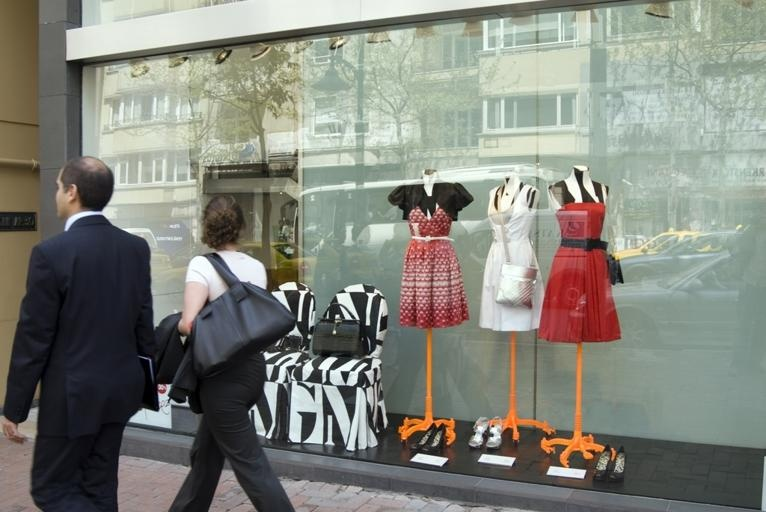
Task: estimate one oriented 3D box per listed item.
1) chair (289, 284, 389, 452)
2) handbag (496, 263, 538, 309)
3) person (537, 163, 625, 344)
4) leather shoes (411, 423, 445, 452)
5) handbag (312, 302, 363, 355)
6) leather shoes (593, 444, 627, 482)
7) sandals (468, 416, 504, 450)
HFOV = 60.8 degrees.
[{"bbox_3d":[-0.392,0.970,6.137,0.908,1.375,1.008,3,1,-1],"label":"chair"},{"bbox_3d":[1.165,0.258,5.636,0.280,0.350,0.205,19,3,16],"label":"handbag"},{"bbox_3d":[1.653,-0.032,5.530,0.641,1.458,0.337,0,1,20],"label":"person"},{"bbox_3d":[0.425,1.605,5.789,0.151,0.107,0.257,-6,-5,33],"label":"leather shoes"},{"bbox_3d":[-0.415,0.687,6.109,0.402,0.417,0.190,-2,-16,13],"label":"handbag"},{"bbox_3d":[1.852,1.670,5.274,0.171,0.122,0.329,-7,11,29],"label":"leather shoes"},{"bbox_3d":[0.924,1.542,5.786,0.197,0.101,0.291,-2,8,20],"label":"sandals"}]
